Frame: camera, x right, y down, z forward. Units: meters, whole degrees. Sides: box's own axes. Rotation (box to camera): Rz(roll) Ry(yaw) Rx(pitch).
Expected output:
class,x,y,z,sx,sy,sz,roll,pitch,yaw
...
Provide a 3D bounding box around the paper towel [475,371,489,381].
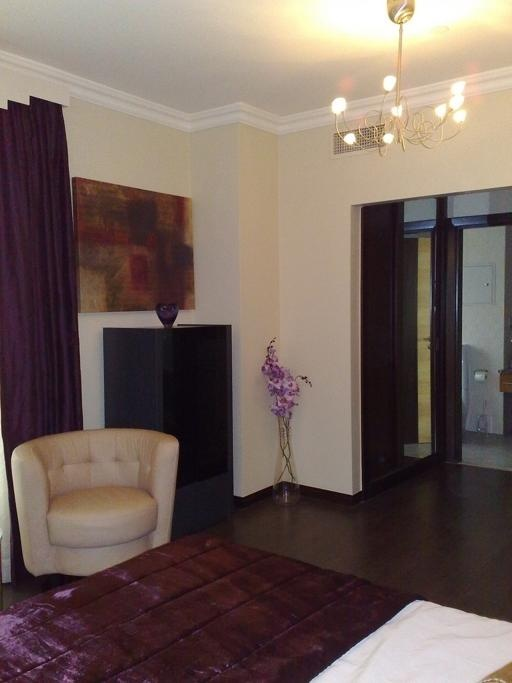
class,x,y,z,sx,sy,sz,roll,pitch,yaw
paper towel,2.114,0.343,5.370,0.096,0.104,0.075,-8,-7,37

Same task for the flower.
class,x,y,z,sx,sy,sz,roll,pitch,yaw
flower,0.198,0.274,4.090,0.325,0.506,0.379,-1,0,27

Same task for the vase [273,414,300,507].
class,x,y,z,sx,sy,sz,roll,pitch,yaw
vase,0.215,0.855,4.148,0.193,0.553,0.268,-1,0,5

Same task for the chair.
class,x,y,z,sx,sy,sz,roll,pitch,yaw
chair,-0.840,0.608,2.897,0.765,0.756,0.684,1,-8,-28
